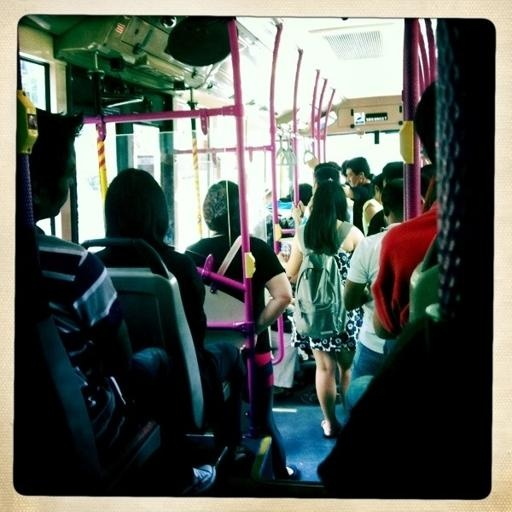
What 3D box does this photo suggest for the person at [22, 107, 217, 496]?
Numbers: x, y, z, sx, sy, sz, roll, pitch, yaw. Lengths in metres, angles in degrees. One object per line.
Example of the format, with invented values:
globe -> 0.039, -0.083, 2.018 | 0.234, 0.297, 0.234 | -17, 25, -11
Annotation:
person -> -0.421, 0.137, 1.547 | 0.475, 1.182, 0.178 | -2, 6, -1

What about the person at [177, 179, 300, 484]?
person -> -0.041, 0.252, 2.028 | 0.398, 1.195, 0.347 | 9, 34, 24

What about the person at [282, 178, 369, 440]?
person -> 0.245, 0.165, 1.800 | 0.249, 0.941, 0.281 | 3, 16, 17
